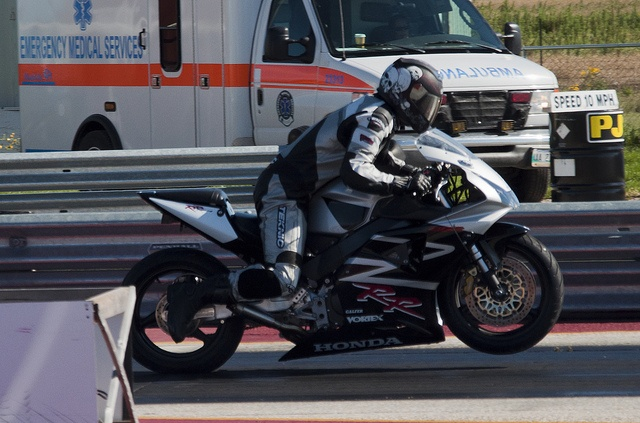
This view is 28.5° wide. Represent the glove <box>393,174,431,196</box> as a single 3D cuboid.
[{"bbox_3d":[0.923,-0.290,12.492,0.317,0.135,0.206,5,43,4],"label":"glove"}]
